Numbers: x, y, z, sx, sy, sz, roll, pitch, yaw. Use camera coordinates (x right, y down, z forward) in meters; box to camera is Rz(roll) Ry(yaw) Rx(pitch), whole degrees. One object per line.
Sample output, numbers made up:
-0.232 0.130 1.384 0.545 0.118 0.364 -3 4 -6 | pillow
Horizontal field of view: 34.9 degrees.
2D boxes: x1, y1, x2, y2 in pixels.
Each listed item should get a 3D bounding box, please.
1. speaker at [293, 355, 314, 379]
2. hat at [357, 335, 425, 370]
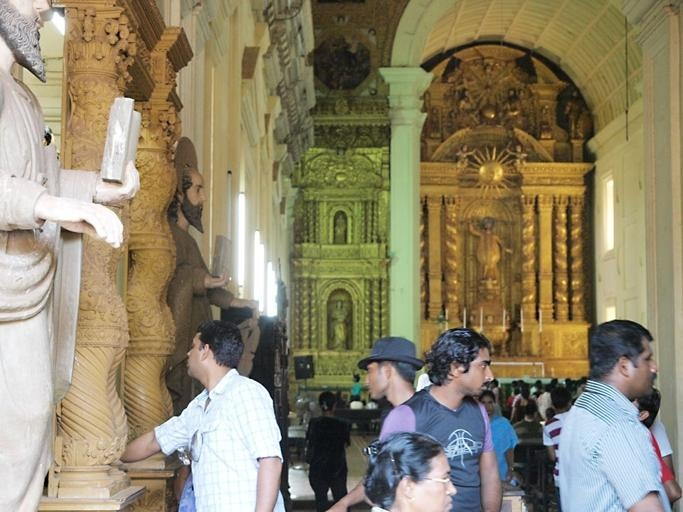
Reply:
-0.780 2.330 22.512 0.517 0.525 0.709 2 -4 -5 | speaker
0.328 0.635 7.159 0.295 0.120 0.245 4 -14 4 | hat
